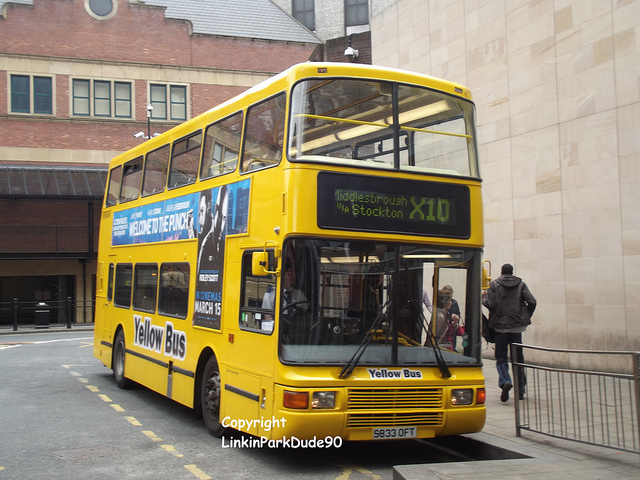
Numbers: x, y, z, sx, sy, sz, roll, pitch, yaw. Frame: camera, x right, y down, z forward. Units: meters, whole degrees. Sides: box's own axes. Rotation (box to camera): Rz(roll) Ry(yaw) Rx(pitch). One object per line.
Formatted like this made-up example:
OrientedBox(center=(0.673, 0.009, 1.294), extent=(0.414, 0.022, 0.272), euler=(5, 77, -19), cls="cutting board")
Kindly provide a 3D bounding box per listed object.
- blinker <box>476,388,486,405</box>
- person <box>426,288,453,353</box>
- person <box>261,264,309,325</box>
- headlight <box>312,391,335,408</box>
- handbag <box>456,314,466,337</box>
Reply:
OrientedBox(center=(2.125, 2.064, 7.181), extent=(0.155, 0.213, 0.039), euler=(3, -5, -38), cls="blinker")
OrientedBox(center=(1.581, 1.072, 7.138), extent=(0.390, 0.808, 0.088), euler=(3, -5, -39), cls="person")
OrientedBox(center=(-0.483, 0.686, 6.706), extent=(0.700, 0.704, 0.241), euler=(-4, -5, 44), cls="person")
OrientedBox(center=(0.028, 1.881, 6.425), extent=(0.336, 0.223, 0.179), euler=(3, -6, -20), cls="headlight")
OrientedBox(center=(1.865, 1.150, 7.259), extent=(0.172, 0.233, 0.093), euler=(9, -21, -38), cls="handbag")
